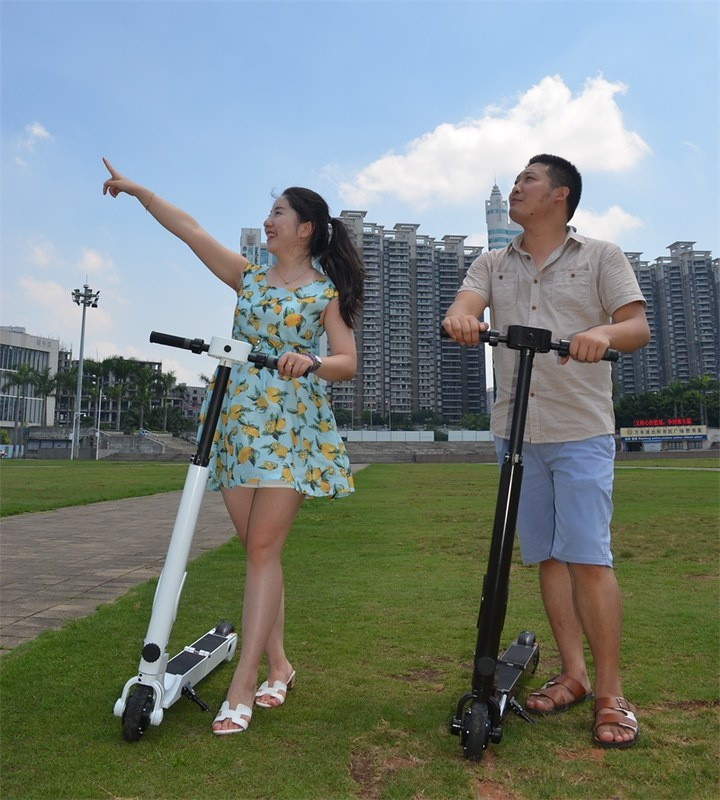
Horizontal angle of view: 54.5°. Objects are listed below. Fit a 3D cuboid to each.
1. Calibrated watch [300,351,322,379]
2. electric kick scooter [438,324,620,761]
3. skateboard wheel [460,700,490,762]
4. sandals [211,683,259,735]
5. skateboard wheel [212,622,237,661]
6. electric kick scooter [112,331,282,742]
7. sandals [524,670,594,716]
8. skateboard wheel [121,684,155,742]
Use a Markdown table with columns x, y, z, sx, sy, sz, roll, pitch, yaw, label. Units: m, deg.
| x | y | z | sx | sy | sz | roll | pitch | yaw | label |
| --- | --- | --- | --- | --- | --- | --- | --- | --- | --- |
| -0.178 | -0.128 | 2.482 | 0.066 | 0.091 | 0.105 | 15 | 8 | 32 | Calibrated watch |
| 0.506 | 0.459 | 2.499 | 0.415 | 1.402 | 0.811 | 0 | -1 | 9 | electric kick scooter |
| 0.356 | 1.021 | 2.140 | 0.091 | 0.176 | 0.082 | 1 | -1 | -13 | skateboard wheel |
| -0.417 | 1.050 | 2.317 | 0.130 | 0.086 | 0.123 | 0 | -1 | -13 | sandals |
| -0.554 | 1.026 | 3.026 | 0.060 | 0.080 | 0.197 | 4 | 37 | 11 | skateboard wheel |
| -0.575 | 0.439 | 2.504 | 0.538 | 1.335 | 0.770 | 0 | -1 | -9 | electric kick scooter |
| 0.741 | 1.114 | 2.644 | 0.268 | 0.093 | 0.094 | 12 | -14 | -42 | sandals |
| -0.714 | 0.978 | 2.176 | 0.065 | 0.130 | 0.135 | -13 | -16 | 18 | skateboard wheel |
